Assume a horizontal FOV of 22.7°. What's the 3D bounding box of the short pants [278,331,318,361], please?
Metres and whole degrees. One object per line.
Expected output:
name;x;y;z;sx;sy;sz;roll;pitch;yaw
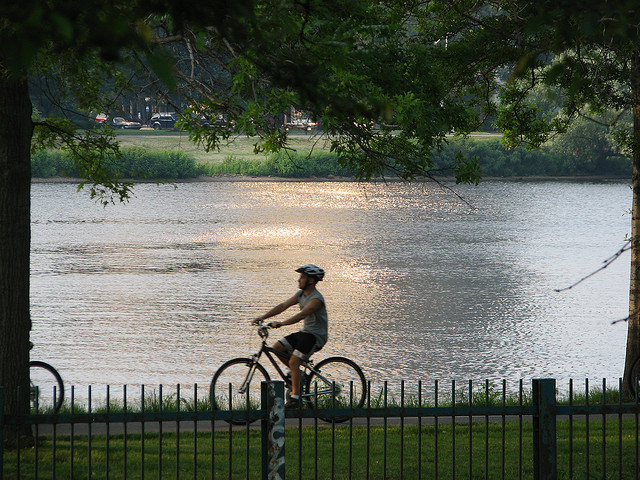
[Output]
short pants;-0.387;1.784;27.666;0.555;0.231;0.552;16;15;11

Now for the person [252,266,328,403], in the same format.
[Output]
person;-0.364;1.608;27.707;0.917;2.335;0.590;0;1;21

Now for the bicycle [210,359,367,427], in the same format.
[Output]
bicycle;-0.546;2.381;27.702;2.976;1.439;1.328;2;1;-26

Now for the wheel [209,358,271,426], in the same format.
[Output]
wheel;-1.400;2.634;27.659;1.346;1.151;1.154;1;5;-5

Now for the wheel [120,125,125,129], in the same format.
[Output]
wheel;-14.236;-8.158;114.511;0.330;0.376;0.131;-2;31;4

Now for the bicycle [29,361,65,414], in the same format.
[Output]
bicycle;-4.852;2.629;28.776;0.547;0.892;0.977;0;1;-38
